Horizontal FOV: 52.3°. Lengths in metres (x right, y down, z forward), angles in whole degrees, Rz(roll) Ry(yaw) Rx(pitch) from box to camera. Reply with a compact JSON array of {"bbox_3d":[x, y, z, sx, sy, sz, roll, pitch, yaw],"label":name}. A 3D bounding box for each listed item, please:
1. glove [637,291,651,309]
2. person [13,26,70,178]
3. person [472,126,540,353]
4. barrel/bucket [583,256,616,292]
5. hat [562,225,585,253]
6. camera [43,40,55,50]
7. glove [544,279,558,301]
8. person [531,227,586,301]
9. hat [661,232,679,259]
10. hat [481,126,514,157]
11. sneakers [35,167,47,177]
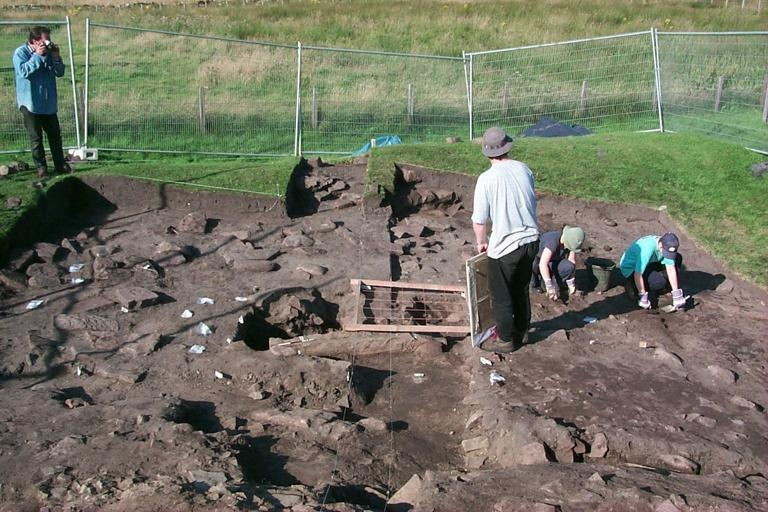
[{"bbox_3d":[4.099,0.680,12.196,0.188,0.240,0.102,-1,11,16],"label":"glove"},{"bbox_3d":[-6.070,-2.764,13.905,0.811,2.611,0.474,-8,16,-23],"label":"person"},{"bbox_3d":[1.764,-0.190,11.145,0.927,3.238,0.448,0,15,9],"label":"person"},{"bbox_3d":[3.490,0.320,12.630,0.508,0.486,0.535,6,8,-1],"label":"barrel/bucket"},{"bbox_3d":[2.921,-0.322,12.028,0.301,0.150,0.408,30,35,-16],"label":"hat"},{"bbox_3d":[-5.838,-3.714,13.630,0.125,0.151,0.160,-37,19,-15],"label":"camera"},{"bbox_3d":[2.612,0.520,12.140,0.201,0.289,0.103,-25,43,33],"label":"glove"},{"bbox_3d":[2.713,0.138,12.137,0.597,0.888,0.798,-18,41,-15],"label":"person"},{"bbox_3d":[4.399,-0.153,11.884,0.240,0.207,0.376,0,53,3],"label":"hat"},{"bbox_3d":[1.604,-1.606,11.013,0.387,0.422,0.252,-2,14,2],"label":"hat"},{"bbox_3d":[-6.212,-1.536,14.119,0.228,0.165,0.177,-1,11,18],"label":"sneakers"}]
